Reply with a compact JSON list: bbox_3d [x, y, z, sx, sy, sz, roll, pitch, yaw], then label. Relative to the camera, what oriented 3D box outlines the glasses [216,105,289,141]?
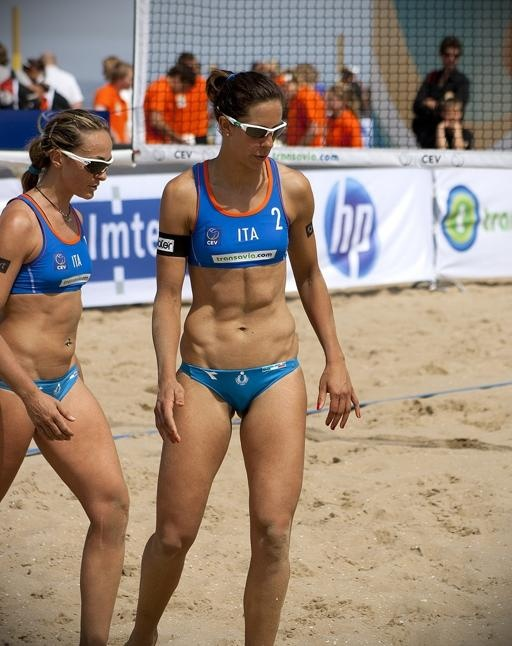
[{"bbox_3d":[-0.008,-0.715,3.365,0.129,0.041,0.149,-5,29,-44],"label":"glasses"}]

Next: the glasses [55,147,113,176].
[{"bbox_3d":[-0.621,-0.604,3.535,0.139,0.037,0.106,24,15,24],"label":"glasses"}]

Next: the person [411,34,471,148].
[{"bbox_3d":[1.432,-1.645,7.429,0.408,1.066,0.364,9,14,17],"label":"person"}]

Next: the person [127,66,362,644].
[{"bbox_3d":[-0.034,0.188,3.547,0.813,2.241,0.660,3,10,4],"label":"person"}]
